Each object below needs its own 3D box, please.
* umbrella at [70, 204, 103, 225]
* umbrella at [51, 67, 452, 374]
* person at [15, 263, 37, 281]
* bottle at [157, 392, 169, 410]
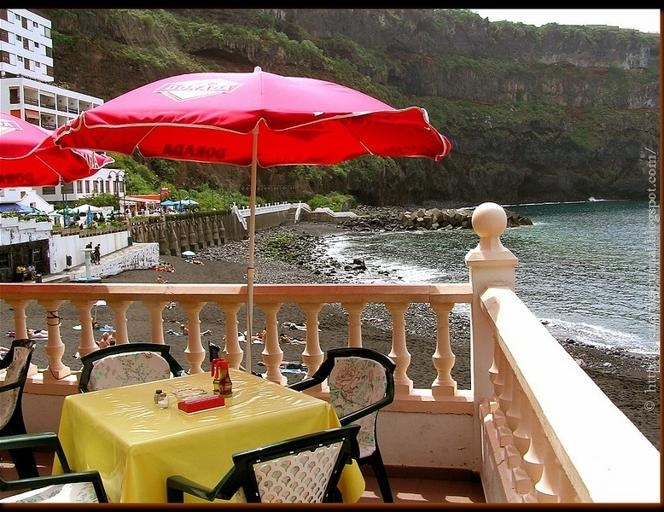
[{"bbox_3d":[-17.436,-3.000,41.495,2.516,1.055,2.333,2,3,1],"label":"umbrella"},{"bbox_3d":[-0.456,-0.267,4.113,2.370,2.110,1.594,-4,4,13],"label":"umbrella"},{"bbox_3d":[-16.104,0.854,31.001,0.763,0.907,1.567,-1,1,18],"label":"person"},{"bbox_3d":[-0.845,0.725,2.954,0.051,0.075,0.078,1,6,-9],"label":"bottle"}]
